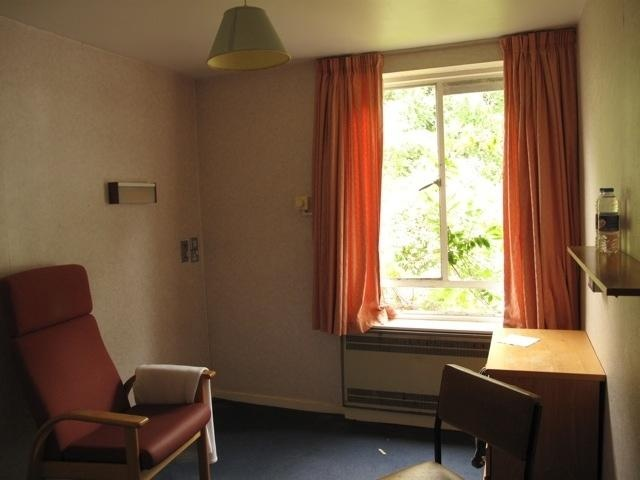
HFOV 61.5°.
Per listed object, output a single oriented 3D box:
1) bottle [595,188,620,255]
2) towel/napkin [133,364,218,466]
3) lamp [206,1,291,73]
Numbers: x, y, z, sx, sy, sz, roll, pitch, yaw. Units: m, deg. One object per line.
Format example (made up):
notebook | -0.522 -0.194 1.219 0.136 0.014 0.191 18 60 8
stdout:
bottle | 1.507 -0.110 2.800 0.115 0.334 0.275 4 13 27
towel/napkin | -1.001 1.173 3.732 0.608 0.811 0.572 0 -5 -32
lamp | -0.369 -0.968 2.799 0.375 0.435 0.361 -7 1 -8
